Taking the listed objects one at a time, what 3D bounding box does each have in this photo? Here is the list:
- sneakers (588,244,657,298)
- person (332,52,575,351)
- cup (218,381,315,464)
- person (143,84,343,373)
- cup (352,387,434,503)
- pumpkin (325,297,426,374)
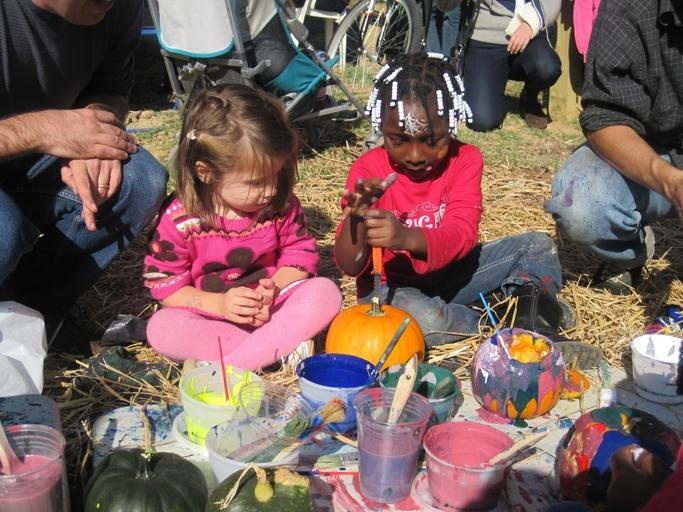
[{"bbox_3d":[1.748,0.100,3.657,0.308,0.283,0.142,9,40,-3],"label":"sneakers"},{"bbox_3d":[0.529,-0.252,3.332,1.161,1.669,1.204,8,22,11],"label":"person"},{"bbox_3d":[-0.274,0.616,2.253,0.280,0.214,0.284,28,21,-12],"label":"cup"},{"bbox_3d":[-0.504,-0.109,2.960,0.848,1.508,0.944,16,37,25],"label":"person"},{"bbox_3d":[0.193,0.729,2.282,0.298,0.360,0.259,3,28,4],"label":"cup"},{"bbox_3d":[0.167,0.371,2.802,0.369,0.315,0.359,3,-3,-5],"label":"pumpkin"}]
